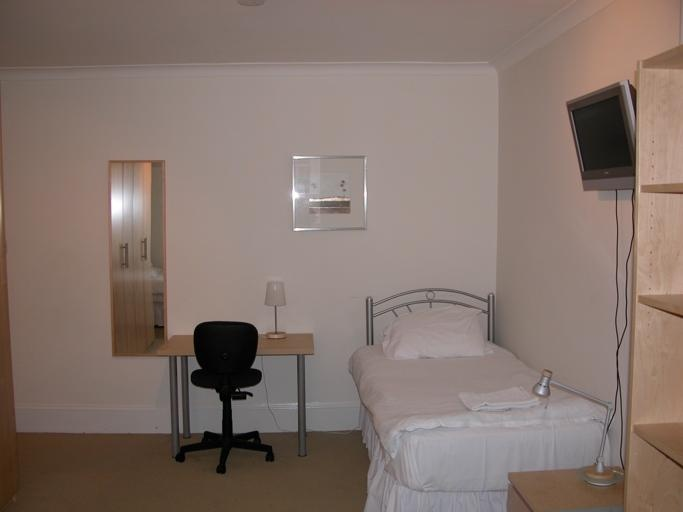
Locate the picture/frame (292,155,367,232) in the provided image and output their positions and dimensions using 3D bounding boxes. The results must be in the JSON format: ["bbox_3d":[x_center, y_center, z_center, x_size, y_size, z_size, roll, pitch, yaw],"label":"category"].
[{"bbox_3d":[-0.118,-0.529,4.911,0.609,0.650,0.023,0,22,-3],"label":"picture/frame"}]

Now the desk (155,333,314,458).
[{"bbox_3d":[-0.864,0.869,4.832,1.539,1.235,0.803,0,7,-4],"label":"desk"}]

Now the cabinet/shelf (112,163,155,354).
[{"bbox_3d":[-2.010,0.035,5.708,0.370,1.980,1.532,-4,12,-17],"label":"cabinet/shelf"}]

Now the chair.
[{"bbox_3d":[-0.850,1.006,4.727,0.944,1.401,0.954,0,5,-7],"label":"chair"}]

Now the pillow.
[{"bbox_3d":[0.726,0.609,4.543,0.517,0.189,0.467,-5,7,-6],"label":"pillow"}]
